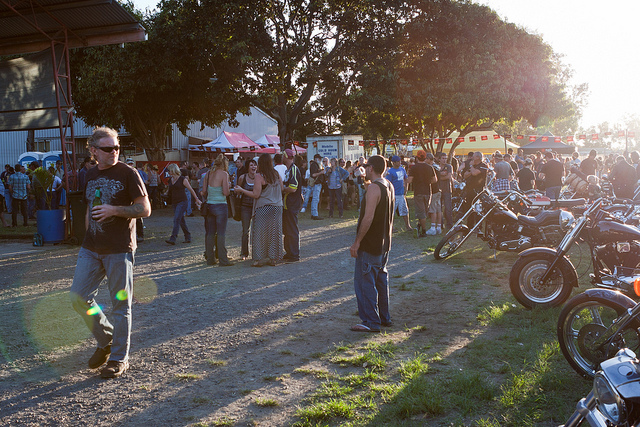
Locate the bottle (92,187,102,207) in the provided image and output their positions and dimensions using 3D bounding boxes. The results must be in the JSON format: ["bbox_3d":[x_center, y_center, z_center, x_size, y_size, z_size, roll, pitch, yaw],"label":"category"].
[{"bbox_3d":[-3.041,-0.229,7.303,0.160,0.249,0.124,5,11,28],"label":"bottle"}]

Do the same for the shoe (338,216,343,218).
[{"bbox_3d":[0.789,0.114,20.554,0.152,0.047,0.216,2,11,12],"label":"shoe"}]

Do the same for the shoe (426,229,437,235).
[{"bbox_3d":[3.291,0.544,15.812,0.248,0.132,0.152,4,10,-3],"label":"shoe"}]

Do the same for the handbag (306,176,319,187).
[{"bbox_3d":[-0.285,-1.267,20.878,0.343,0.536,0.268,6,6,-8],"label":"handbag"}]

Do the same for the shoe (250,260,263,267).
[{"bbox_3d":[-1.424,1.135,12.066,0.220,0.115,0.126,1,-2,-7],"label":"shoe"}]

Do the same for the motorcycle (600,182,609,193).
[{"bbox_3d":[9.536,-0.883,17.878,0.089,0.419,0.391,7,-5,-24],"label":"motorcycle"}]

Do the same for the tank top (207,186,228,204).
[{"bbox_3d":[-2.328,-0.402,12.119,0.468,0.428,0.327,0,-13,-1],"label":"tank top"}]

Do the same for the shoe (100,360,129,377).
[{"bbox_3d":[-2.776,2.104,7.216,0.142,0.167,0.334,-2,-12,21],"label":"shoe"}]

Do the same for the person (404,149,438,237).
[{"bbox_3d":[2.969,-0.618,15.671,0.798,2.490,0.741,-6,11,-30],"label":"person"}]

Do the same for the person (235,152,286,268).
[{"bbox_3d":[-1.204,-0.055,11.902,0.747,2.544,0.298,-2,9,-10],"label":"person"}]

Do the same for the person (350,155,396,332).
[{"bbox_3d":[0.858,0.463,8.522,0.555,2.725,0.852,5,11,31],"label":"person"}]

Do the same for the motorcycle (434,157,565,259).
[{"bbox_3d":[3.969,0.130,12.033,2.502,1.850,1.421,-1,20,18],"label":"motorcycle"}]

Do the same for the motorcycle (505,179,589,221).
[{"bbox_3d":[5.548,-0.364,13.161,1.991,1.210,0.561,-1,-2,21],"label":"motorcycle"}]

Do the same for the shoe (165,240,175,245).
[{"bbox_3d":[-4.091,0.796,14.677,0.241,0.114,0.086,27,-10,3],"label":"shoe"}]

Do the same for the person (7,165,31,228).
[{"bbox_3d":[-10.867,-0.635,19.419,0.681,2.254,1.474,-6,11,-31],"label":"person"}]

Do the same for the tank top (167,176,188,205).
[{"bbox_3d":[-3.903,-0.604,14.579,0.574,0.891,0.435,-8,-14,23],"label":"tank top"}]

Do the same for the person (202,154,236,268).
[{"bbox_3d":[-2.333,-0.083,12.231,0.645,2.513,0.723,-2,9,-13],"label":"person"}]

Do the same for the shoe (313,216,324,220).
[{"bbox_3d":[-0.047,0.154,20.056,0.423,0.096,0.379,-7,13,-32],"label":"shoe"}]
